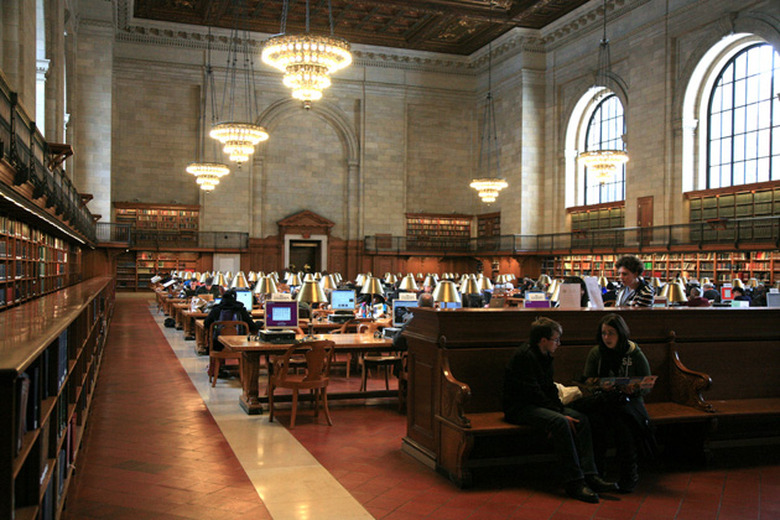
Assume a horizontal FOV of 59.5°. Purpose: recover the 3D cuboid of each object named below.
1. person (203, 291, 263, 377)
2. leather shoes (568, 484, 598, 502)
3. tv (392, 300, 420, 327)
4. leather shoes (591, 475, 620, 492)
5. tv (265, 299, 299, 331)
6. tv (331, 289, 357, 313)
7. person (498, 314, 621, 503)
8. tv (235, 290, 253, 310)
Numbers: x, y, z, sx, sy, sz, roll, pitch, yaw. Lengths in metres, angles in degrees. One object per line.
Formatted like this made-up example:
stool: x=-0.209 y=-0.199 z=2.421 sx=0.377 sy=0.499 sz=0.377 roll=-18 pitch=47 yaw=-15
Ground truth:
person: x=-2.412 y=0.990 z=10.293 sx=0.793 sy=1.232 sz=0.543 roll=3 pitch=26 yaw=-16
leather shoes: x=1.670 y=2.035 z=5.980 sx=0.098 sy=0.113 sz=0.269 roll=-1 pitch=-3 yaw=-37
tv: x=0.192 y=0.681 z=8.695 sx=0.482 sy=0.346 sz=0.051 roll=3 pitch=-10 yaw=-25
leather shoes: x=1.930 y=1.988 z=6.080 sx=0.336 sy=0.138 sz=0.113 roll=5 pitch=3 yaw=-5
tv: x=-1.436 y=0.727 z=9.143 sx=0.573 sy=0.473 sz=0.320 roll=1 pitch=-2 yaw=-8
tv: x=-0.839 y=0.735 z=11.686 sx=0.577 sy=0.501 sz=0.309 roll=1 pitch=-5 yaw=-7
person: x=1.491 y=1.306 z=6.142 sx=0.947 sy=1.517 sz=0.385 roll=3 pitch=7 yaw=33
tv: x=-2.616 y=0.701 z=12.376 sx=0.439 sy=0.424 sz=0.434 roll=1 pitch=-2 yaw=-9
